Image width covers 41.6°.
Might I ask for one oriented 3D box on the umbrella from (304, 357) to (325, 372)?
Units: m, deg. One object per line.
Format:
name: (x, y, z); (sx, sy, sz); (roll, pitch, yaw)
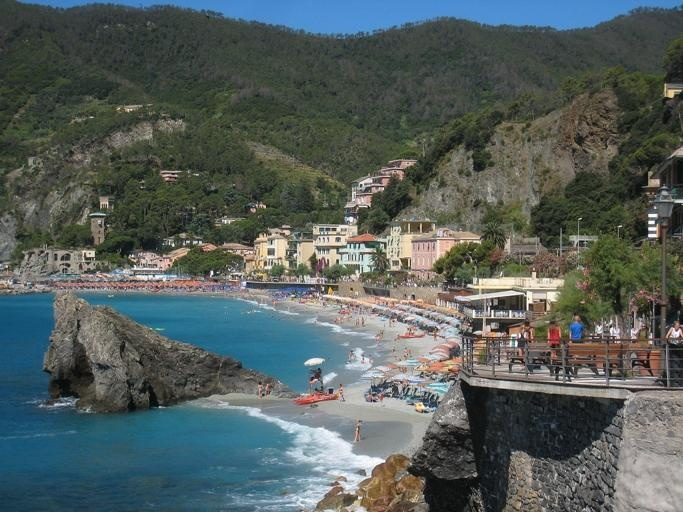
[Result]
umbrella: (-2.448, 9.899, 80.345); (2.057, 0.774, 2.067); (-2, 0, -27)

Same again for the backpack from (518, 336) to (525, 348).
backpack: (8.379, 4.046, 41.990); (0.125, 0.497, 0.494); (5, 0, -44)

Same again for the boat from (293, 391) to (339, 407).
boat: (-2.095, 11.068, 69.216); (2.136, 0.461, 1.333); (-2, 7, -12)

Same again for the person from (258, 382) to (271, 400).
person: (-6.166, 10.681, 71.571); (1.156, 0.976, 1.787); (-5, 3, -5)
